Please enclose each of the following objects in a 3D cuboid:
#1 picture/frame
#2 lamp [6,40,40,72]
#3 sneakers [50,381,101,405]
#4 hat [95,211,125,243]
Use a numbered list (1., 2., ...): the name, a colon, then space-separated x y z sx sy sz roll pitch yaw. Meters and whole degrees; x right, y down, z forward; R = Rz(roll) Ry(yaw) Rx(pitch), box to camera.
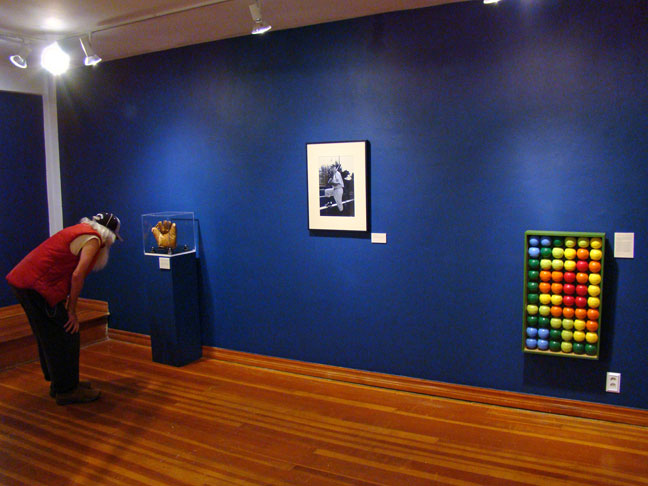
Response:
1. picture/frame: 0.148 -0.525 4.397 0.866 1.170 0.041 1 5 25
2. lamp: -3.255 -2.051 5.218 0.198 0.215 0.195 21 13 -35
3. sneakers: -2.199 1.330 4.265 0.355 0.251 0.137 -8 18 -34
4. hat: -1.995 -0.154 4.533 0.290 0.176 0.208 33 2 -22
